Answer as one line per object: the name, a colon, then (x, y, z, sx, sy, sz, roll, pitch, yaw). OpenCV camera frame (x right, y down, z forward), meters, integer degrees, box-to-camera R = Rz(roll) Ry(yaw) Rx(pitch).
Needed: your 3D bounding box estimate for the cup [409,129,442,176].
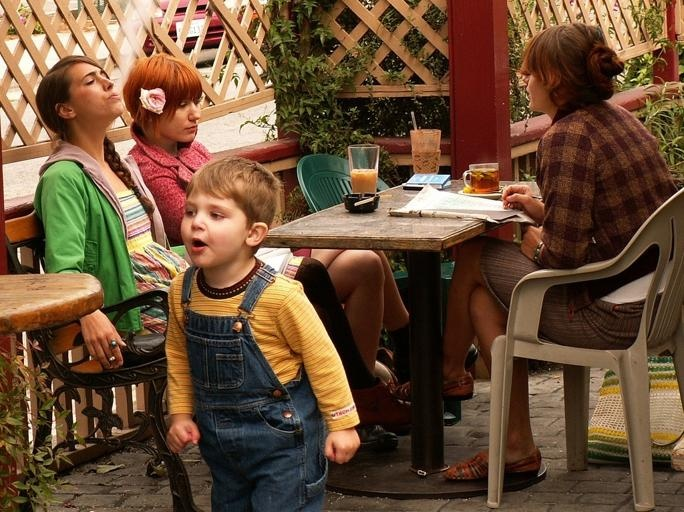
cup: (0.500, -0.615, 3.435, 0.217, 0.306, 0.241, -2, 16, 17)

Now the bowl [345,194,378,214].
bowl: (0.087, -0.227, 2.563, 0.100, 0.048, 0.099, -1, 9, 0)

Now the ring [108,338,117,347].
ring: (-0.808, 0.313, 2.107, 0.024, 0.031, 0.012, -5, 5, -23)

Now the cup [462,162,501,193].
cup: (0.676, -0.373, 2.888, 0.194, 0.152, 0.151, -1, 3, 1)

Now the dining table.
dining table: (0.284, 0.334, 2.611, 1.048, 1.085, 1.106, 2, 7, 22)

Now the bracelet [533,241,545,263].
bracelet: (0.735, -0.013, 2.206, 0.029, 0.080, 0.067, 13, 11, 16)

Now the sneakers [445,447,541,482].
sneakers: (0.616, 0.843, 2.463, 0.394, 0.139, 0.150, 1, -2, -2)
